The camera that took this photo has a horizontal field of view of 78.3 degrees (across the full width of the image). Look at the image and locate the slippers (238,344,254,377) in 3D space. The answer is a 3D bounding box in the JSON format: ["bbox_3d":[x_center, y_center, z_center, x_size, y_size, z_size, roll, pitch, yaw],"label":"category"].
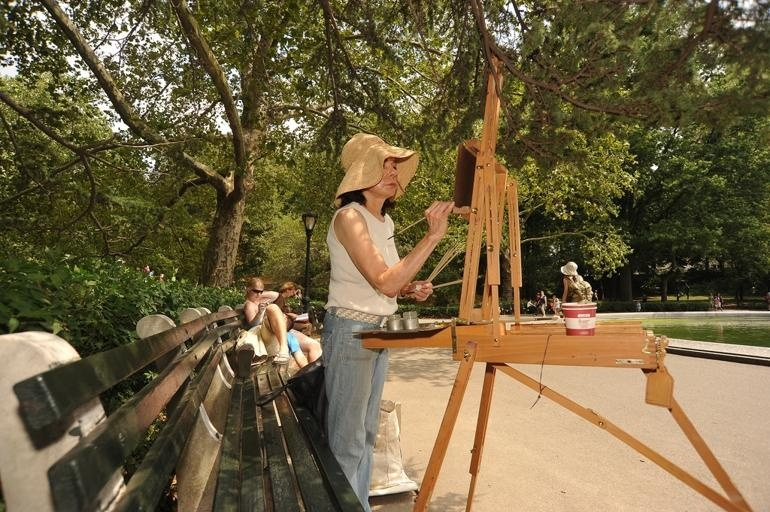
[{"bbox_3d":[-1.600,1.226,5.477,0.158,0.430,0.173,4,7,-4],"label":"slippers"}]

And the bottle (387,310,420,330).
[{"bbox_3d":[0.119,0.406,2.903,0.159,0.093,0.103,-2,-6,19],"label":"bottle"}]

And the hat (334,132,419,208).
[{"bbox_3d":[-0.145,-0.676,3.306,0.511,0.411,0.582,-25,5,-42],"label":"hat"}]

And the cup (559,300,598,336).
[{"bbox_3d":[1.223,0.397,2.970,0.212,0.192,0.203,0,-7,0],"label":"cup"}]

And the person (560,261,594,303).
[{"bbox_3d":[6.050,1.181,15.177,0.762,2.141,0.864,9,40,29],"label":"person"}]
